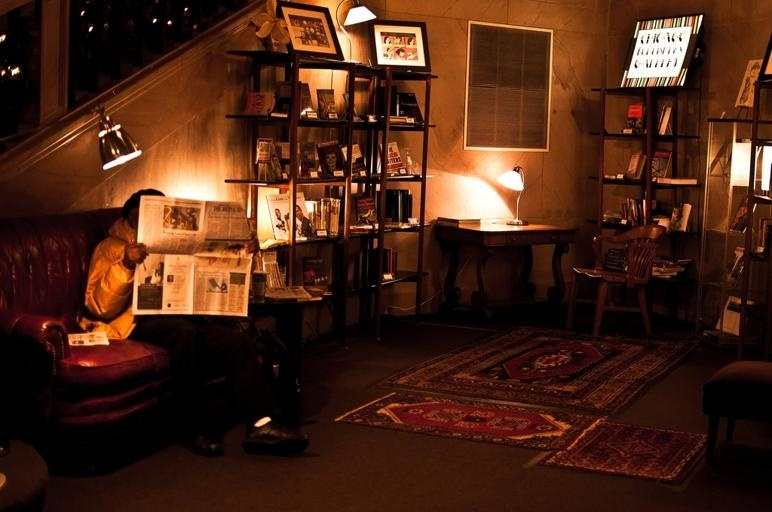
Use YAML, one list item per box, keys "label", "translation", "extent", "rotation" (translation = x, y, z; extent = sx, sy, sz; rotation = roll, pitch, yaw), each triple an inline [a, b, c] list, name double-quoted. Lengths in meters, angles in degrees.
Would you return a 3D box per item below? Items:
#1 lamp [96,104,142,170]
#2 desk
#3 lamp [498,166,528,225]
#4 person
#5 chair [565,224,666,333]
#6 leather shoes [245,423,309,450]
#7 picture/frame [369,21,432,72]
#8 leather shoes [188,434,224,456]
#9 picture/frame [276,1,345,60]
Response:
- label: "lamp"
  translation: [-1.690, -0.732, 3.675]
  extent: [0.257, 0.364, 0.183]
  rotation: [1, 9, 1]
- label: "desk"
  translation: [1.324, -0.092, 6.690]
  extent: [1.547, 1.011, 1.009]
  rotation: [-3, 6, -33]
- label: "lamp"
  translation: [1.481, -0.707, 6.960]
  extent: [0.349, 0.655, 0.555]
  rotation: [3, 9, 11]
- label: "person"
  translation: [-1.232, 0.360, 3.743]
  extent: [1.619, 1.587, 0.916]
  rotation: [-1, -5, 25]
- label: "chair"
  translation: [2.474, 0.200, 6.386]
  extent: [0.861, 1.119, 1.627]
  rotation: [5, 10, 25]
- label: "leather shoes"
  translation: [-0.658, 1.076, 3.572]
  extent: [0.396, 0.168, 0.148]
  rotation: [-1, 5, 5]
- label: "picture/frame"
  translation: [0.114, -2.062, 5.903]
  extent: [0.642, 0.539, 0.053]
  rotation: [-2, -13, -15]
- label: "leather shoes"
  translation: [-1.072, 1.125, 3.589]
  extent: [0.114, 0.056, 0.157]
  rotation: [9, 9, -12]
- label: "picture/frame"
  translation: [-0.631, -1.945, 5.145]
  extent: [0.519, 0.500, 0.345]
  rotation: [-5, 11, -34]
